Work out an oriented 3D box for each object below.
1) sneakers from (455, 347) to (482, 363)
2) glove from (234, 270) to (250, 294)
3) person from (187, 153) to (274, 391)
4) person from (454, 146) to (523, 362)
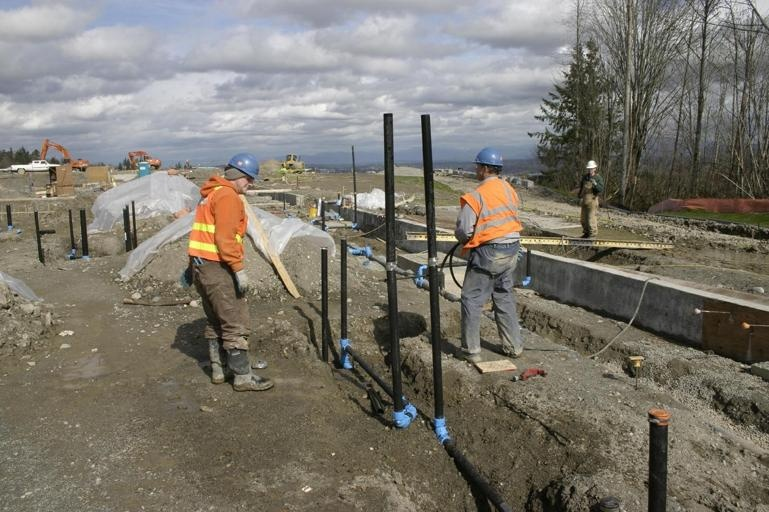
[{"bbox_3d":[1.065,1.270,6.322,0.349,0.145,0.149,19,22,41],"label":"sneakers"},{"bbox_3d":[-1.659,0.303,5.880,0.192,0.261,0.099,19,37,40],"label":"glove"},{"bbox_3d":[-1.879,0.234,5.927,0.885,2.822,0.772,-6,14,-16],"label":"person"},{"bbox_3d":[1.348,0.204,6.243,0.847,2.309,0.416,-6,14,-15],"label":"person"}]
